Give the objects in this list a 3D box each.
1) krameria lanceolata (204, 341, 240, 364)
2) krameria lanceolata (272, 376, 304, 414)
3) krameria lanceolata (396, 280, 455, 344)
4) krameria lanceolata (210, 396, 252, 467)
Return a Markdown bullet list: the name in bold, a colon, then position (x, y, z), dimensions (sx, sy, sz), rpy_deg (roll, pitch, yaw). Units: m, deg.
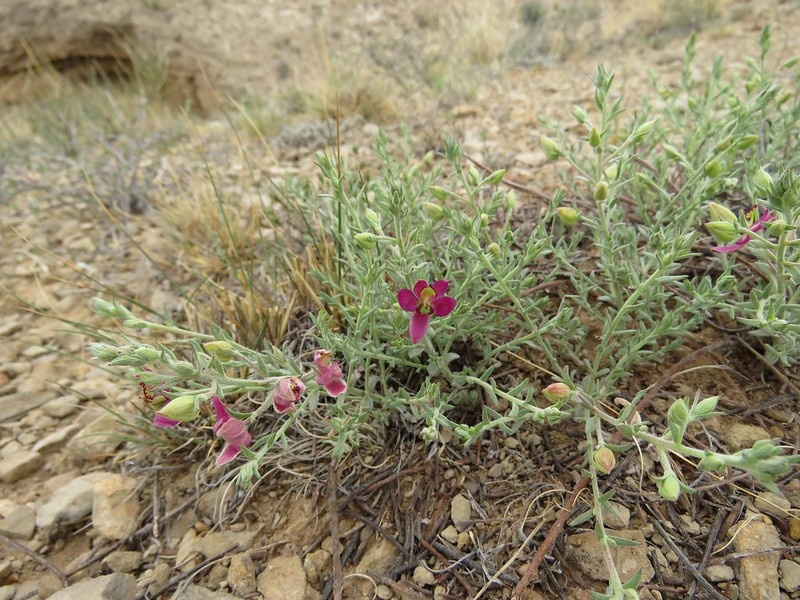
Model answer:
- **krameria lanceolata**: position (-0.987, 0.276, 3.421), dimensions (0.158, 0.119, 0.081), rpy_deg (18, 16, -25)
- **krameria lanceolata**: position (-0.613, 0.526, 3.447), dimensions (0.158, 0.114, 0.185), rpy_deg (1, 67, 13)
- **krameria lanceolata**: position (0.153, 0.045, 3.629), dimensions (0.317, 0.139, 0.371), rpy_deg (4, 95, -4)
- **krameria lanceolata**: position (-0.870, 0.744, 3.363), dimensions (0.325, 0.140, 0.279), rpy_deg (14, 70, -24)
